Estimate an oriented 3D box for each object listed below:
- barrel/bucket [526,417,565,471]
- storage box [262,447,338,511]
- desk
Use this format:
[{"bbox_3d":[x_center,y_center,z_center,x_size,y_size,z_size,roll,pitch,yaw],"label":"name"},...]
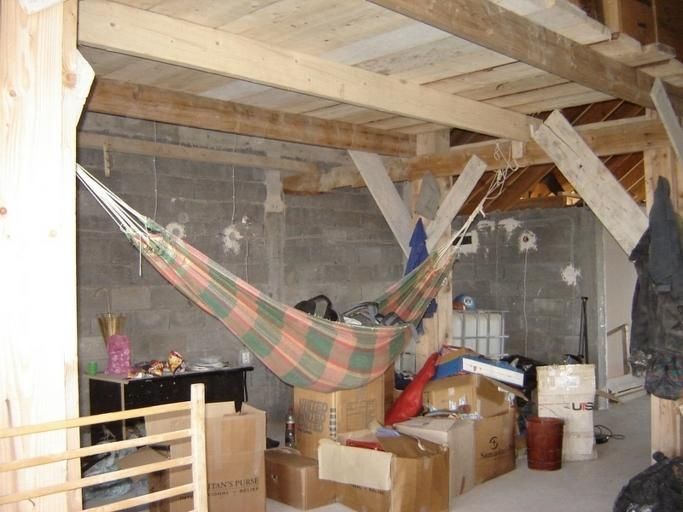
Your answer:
[{"bbox_3d":[1.568,1.481,4.753,0.370,0.381,0.368,0,-4,0],"label":"barrel/bucket"},{"bbox_3d":[-0.250,1.405,4.063,0.282,0.242,0.532,0,0,-40],"label":"storage box"},{"bbox_3d":[-1.343,1.397,5.580,1.611,0.660,1.668,-3,-7,-9],"label":"desk"}]
